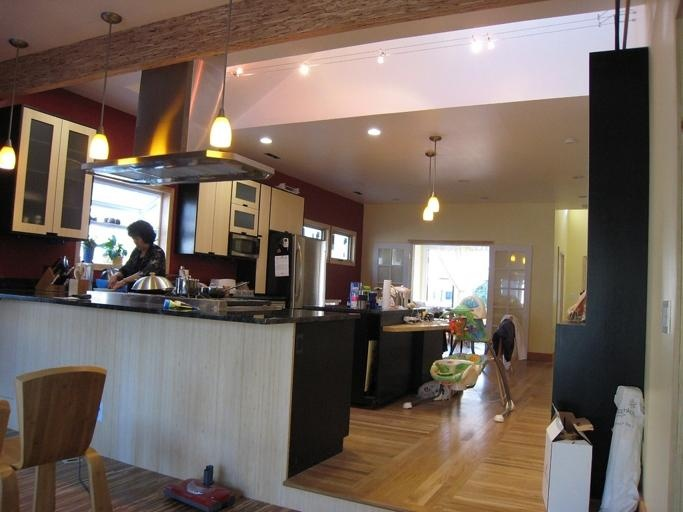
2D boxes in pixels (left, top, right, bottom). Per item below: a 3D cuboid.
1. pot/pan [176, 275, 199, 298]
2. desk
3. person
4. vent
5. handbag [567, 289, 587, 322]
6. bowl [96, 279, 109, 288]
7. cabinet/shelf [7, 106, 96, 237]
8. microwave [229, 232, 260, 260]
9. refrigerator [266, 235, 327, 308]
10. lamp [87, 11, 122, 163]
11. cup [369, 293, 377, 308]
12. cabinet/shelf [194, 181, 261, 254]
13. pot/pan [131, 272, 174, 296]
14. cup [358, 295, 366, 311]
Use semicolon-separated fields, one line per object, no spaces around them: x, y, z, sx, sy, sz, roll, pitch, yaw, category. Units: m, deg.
-1.296;0.277;4.549;0.176;0.122;0.138;1;-3;12;pot/pan
0.799;1.063;6.272;0.718;0.677;1.345;1;0;33;desk
-1.982;0.110;5.226;0.537;0.892;0.475;2;-1;-36;person
-1.555;-1.250;5.124;1.569;0.999;0.999;0;-4;17;vent
1.822;0.393;4.141;0.109;0.223;0.240;0;-1;27;handbag
-2.366;0.278;5.338;0.110;0.080;0.112;2;-1;0;bowl
-3.051;-0.801;5.618;0.312;1.234;0.708;-4;-9;41;cabinet/shelf
-1.361;-0.124;7.593;0.295;0.326;0.498;0;-4;25;microwave
-0.666;0.184;7.918;0.880;1.117;0.648;1;-1;-6;refrigerator
-2.275;-1.413;5.132;0.241;0.812;1.594;1;-1;-26;lamp
0.353;0.491;5.835;0.095;0.172;0.072;1;-1;-13;cup
-1.416;-0.503;7.356;1.113;1.049;0.355;6;5;29;cabinet/shelf
-1.597;0.247;4.549;0.329;0.165;0.129;1;-1;-10;pot/pan
0.225;0.519;5.857;0.110;0.213;0.107;2;-3;0;cup
